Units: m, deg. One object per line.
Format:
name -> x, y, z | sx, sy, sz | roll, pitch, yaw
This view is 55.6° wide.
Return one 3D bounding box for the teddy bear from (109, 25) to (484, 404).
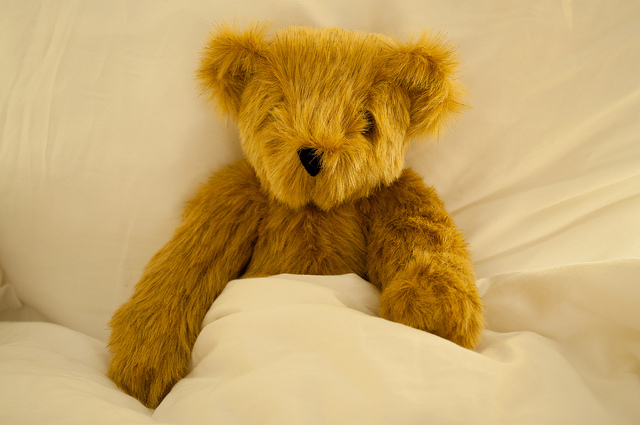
teddy bear -> -0.036, 0.018, 1.311 | 0.747, 0.805, 0.421 | 3, 7, 8
